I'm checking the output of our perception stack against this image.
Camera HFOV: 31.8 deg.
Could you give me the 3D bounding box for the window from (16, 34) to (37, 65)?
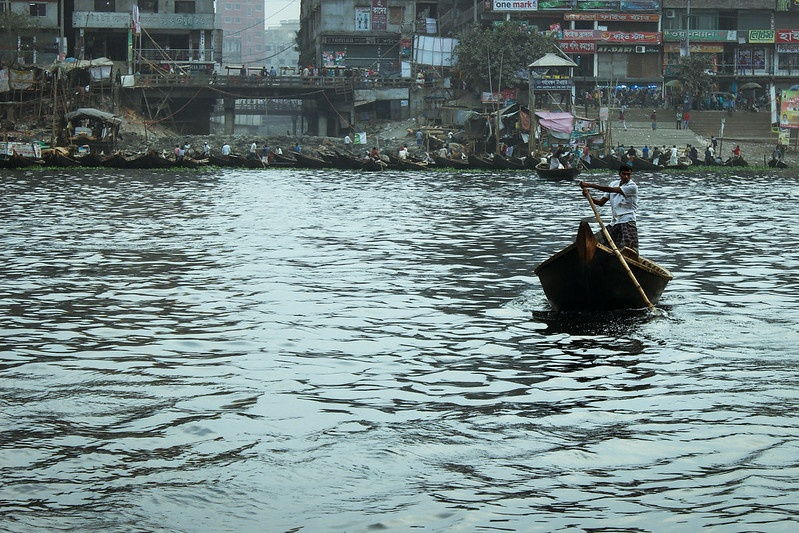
[{"bbox_3d":[-21.165,-12.435,80.351,0.939,1.652,1.357,-2,8,-9],"label":"window"}]
